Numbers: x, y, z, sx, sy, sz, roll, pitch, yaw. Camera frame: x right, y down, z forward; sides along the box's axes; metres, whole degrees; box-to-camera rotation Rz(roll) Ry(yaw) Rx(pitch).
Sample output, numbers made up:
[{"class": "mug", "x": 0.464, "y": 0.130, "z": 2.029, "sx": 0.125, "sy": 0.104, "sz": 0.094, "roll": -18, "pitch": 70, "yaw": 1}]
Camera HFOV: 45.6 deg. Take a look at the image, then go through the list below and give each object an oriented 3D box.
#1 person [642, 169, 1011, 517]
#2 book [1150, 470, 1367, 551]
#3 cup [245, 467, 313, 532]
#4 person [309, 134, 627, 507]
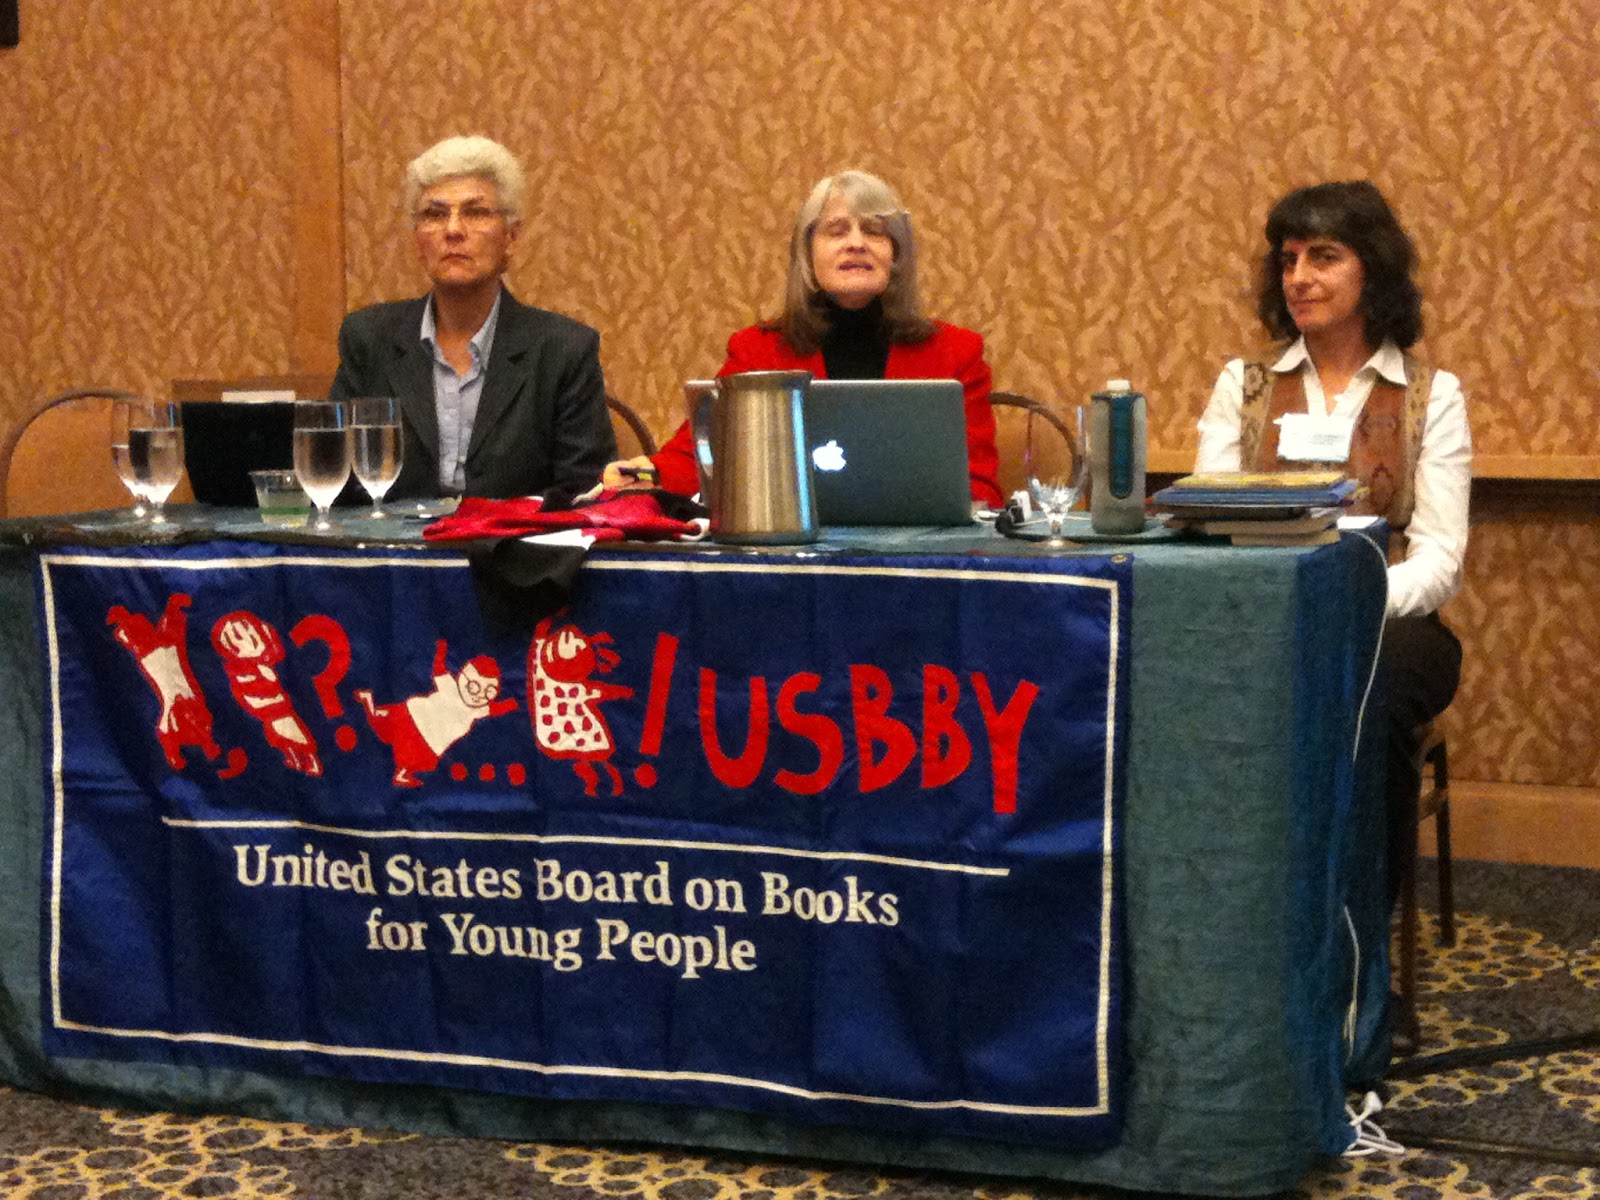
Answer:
[{"class": "person", "x": 0.066, "y": -0.572, "z": 4.535, "sx": 0.965, "sy": 0.833, "sz": 0.520, "roll": -1, "pitch": 3, "yaw": -13}, {"class": "book", "x": 0.793, "y": -0.158, "z": 3.278, "sx": 0.373, "sy": 0.103, "sz": 0.214, "roll": 0, "pitch": 11, "yaw": 0}, {"class": "cup", "x": -0.977, "y": -0.195, "z": 3.661, "sx": 0.099, "sy": 0.089, "sz": 0.105, "roll": -1, "pitch": -4, "yaw": 0}, {"class": "person", "x": -0.773, "y": -0.553, "z": 4.414, "sx": 0.619, "sy": 1.004, "sz": 0.571, "roll": 1, "pitch": 8, "yaw": 5}]
